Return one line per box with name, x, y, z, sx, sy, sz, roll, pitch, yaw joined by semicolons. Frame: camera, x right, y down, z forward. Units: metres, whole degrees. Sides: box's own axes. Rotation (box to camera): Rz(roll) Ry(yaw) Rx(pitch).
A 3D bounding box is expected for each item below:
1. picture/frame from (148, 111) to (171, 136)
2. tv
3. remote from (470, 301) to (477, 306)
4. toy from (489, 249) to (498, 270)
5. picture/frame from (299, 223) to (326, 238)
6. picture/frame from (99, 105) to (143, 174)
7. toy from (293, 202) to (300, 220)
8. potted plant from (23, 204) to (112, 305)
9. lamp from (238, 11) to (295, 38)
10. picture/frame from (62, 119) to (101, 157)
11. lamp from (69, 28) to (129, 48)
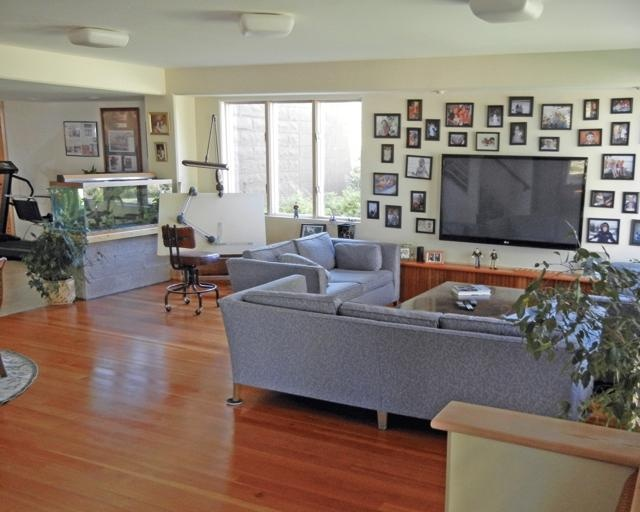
picture/frame;-2.454;-2.060;7.549;0.354;0.366;0.029;4;10;20
tv;2.539;-0.723;6.259;1.305;0.868;0.059;3;7;21
remote;1.580;0.481;5.019;0.040;0.032;0.040;7;13;33
toy;2.286;0.041;6.456;0.099;0.216;0.244;4;12;17
picture/frame;-0.093;-0.385;7.316;0.275;0.199;0.023;0;-7;21
picture/frame;-3.378;-1.973;8.335;0.891;1.073;0.191;7;13;30
toy;-0.375;-0.719;7.754;0.101;0.239;0.237;-1;11;-3
potted plant;-3.432;0.004;6.519;0.677;1.099;0.802;-4;-1;-27
lamp;-0.416;-1.855;3.931;0.259;0.090;0.211;-1;10;-11
picture/frame;-4.205;-2.117;8.702;0.674;0.585;0.046;5;10;24
lamp;-2.059;-1.997;4.480;0.272;0.085;0.282;2;11;11
